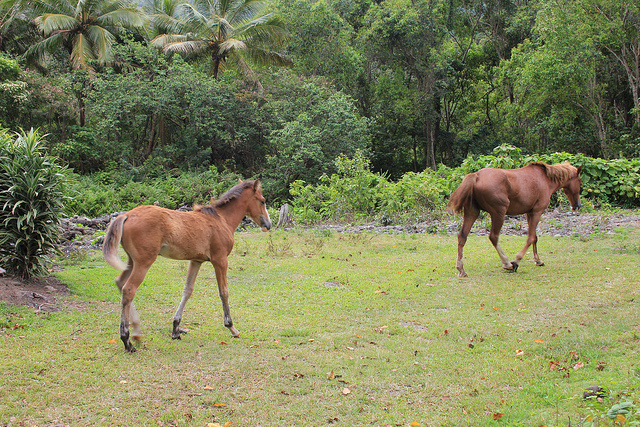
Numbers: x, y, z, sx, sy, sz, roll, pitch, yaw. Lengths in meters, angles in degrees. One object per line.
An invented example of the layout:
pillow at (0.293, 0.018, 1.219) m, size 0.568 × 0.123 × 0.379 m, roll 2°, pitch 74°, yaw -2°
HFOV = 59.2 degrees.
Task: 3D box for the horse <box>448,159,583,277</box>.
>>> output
horse at (5.556, 0.176, 15.773) m, size 4.450 × 3.466 × 1.177 m, roll 1°, pitch -2°, yaw -18°
